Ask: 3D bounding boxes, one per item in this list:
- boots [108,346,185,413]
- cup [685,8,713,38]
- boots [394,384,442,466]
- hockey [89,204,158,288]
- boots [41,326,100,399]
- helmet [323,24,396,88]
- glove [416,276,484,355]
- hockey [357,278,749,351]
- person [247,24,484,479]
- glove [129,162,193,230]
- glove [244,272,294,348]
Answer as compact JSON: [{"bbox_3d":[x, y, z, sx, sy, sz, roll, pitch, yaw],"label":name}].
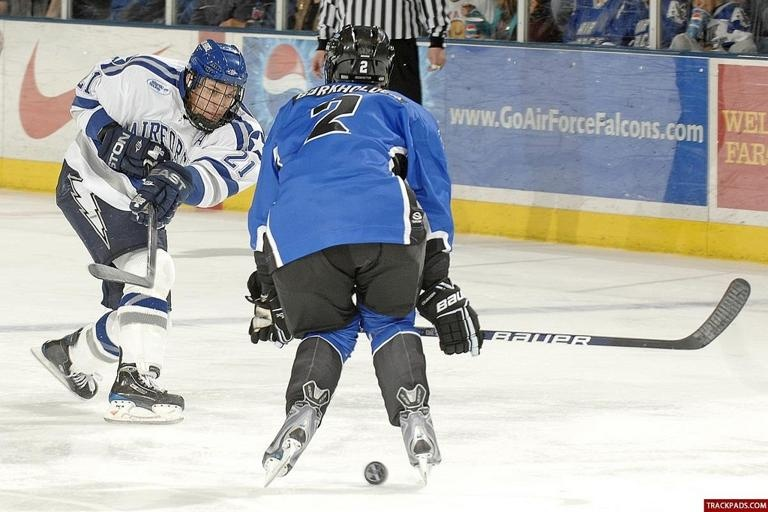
[{"bbox_3d":[-0.955,0.549,3.904,0.294,0.224,0.131,4,13,-3],"label":"boots"},{"bbox_3d":[2.258,-1.682,6.963,0.165,0.195,0.139,14,27,-30],"label":"cup"},{"bbox_3d":[0.107,0.568,3.261,0.122,0.282,0.132,-15,-26,1],"label":"boots"},{"bbox_3d":[-1.058,-0.038,3.948,0.260,0.353,0.218,3,13,-12],"label":"hockey"},{"bbox_3d":[-1.336,0.470,4.138,0.220,0.309,0.099,-36,20,35],"label":"boots"},{"bbox_3d":[-0.089,-0.744,3.710,0.315,0.255,0.339,2,11,-13],"label":"helmet"},{"bbox_3d":[0.249,0.234,3.505,0.247,0.280,0.089,-22,18,16],"label":"glove"},{"bbox_3d":[0.835,0.289,4.599,2.426,0.205,0.397,0,50,0],"label":"hockey"},{"bbox_3d":[-0.062,0.059,3.379,0.879,1.293,0.669,4,13,-4],"label":"person"},{"bbox_3d":[-0.897,-0.247,3.852,0.283,0.210,0.116,-42,5,-1],"label":"glove"},{"bbox_3d":[-0.439,0.213,3.652,0.290,0.244,0.128,17,25,39],"label":"glove"}]
